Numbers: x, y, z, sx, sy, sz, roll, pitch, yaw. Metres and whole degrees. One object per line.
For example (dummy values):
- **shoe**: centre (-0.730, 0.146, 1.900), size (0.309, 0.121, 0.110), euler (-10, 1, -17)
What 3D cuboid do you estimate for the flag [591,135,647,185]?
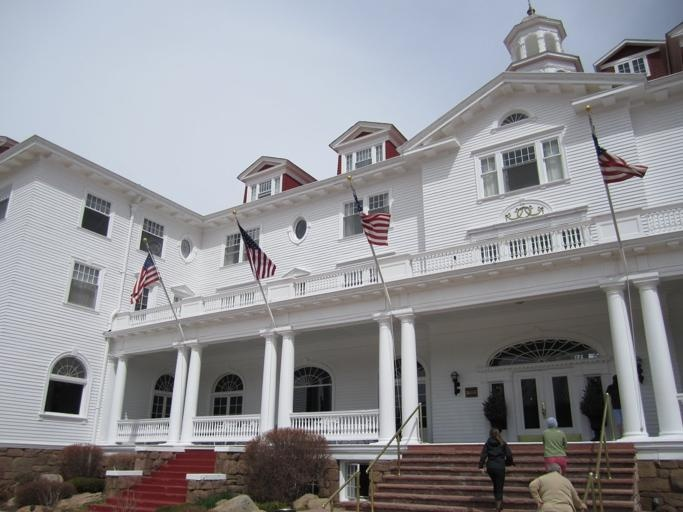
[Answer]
- **flag**: centre (7.963, -2.632, 14.952), size (1.333, 1.491, 0.799), euler (1, -21, -6)

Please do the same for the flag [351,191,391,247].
- **flag**: centre (1.029, -1.039, 17.436), size (1.037, 1.422, 0.562), euler (10, -24, -28)

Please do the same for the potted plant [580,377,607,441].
- **potted plant**: centre (8.471, 5.058, 17.273), size (0.846, 2.038, 0.877), euler (-10, -23, 21)

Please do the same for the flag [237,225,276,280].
- **flag**: centre (-3.209, -0.018, 19.471), size (1.287, 1.888, 0.760), euler (8, -23, -23)

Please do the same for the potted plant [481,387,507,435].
- **potted plant**: centre (5.638, 5.541, 18.901), size (0.865, 1.698, 0.543), euler (-6, -22, 11)
